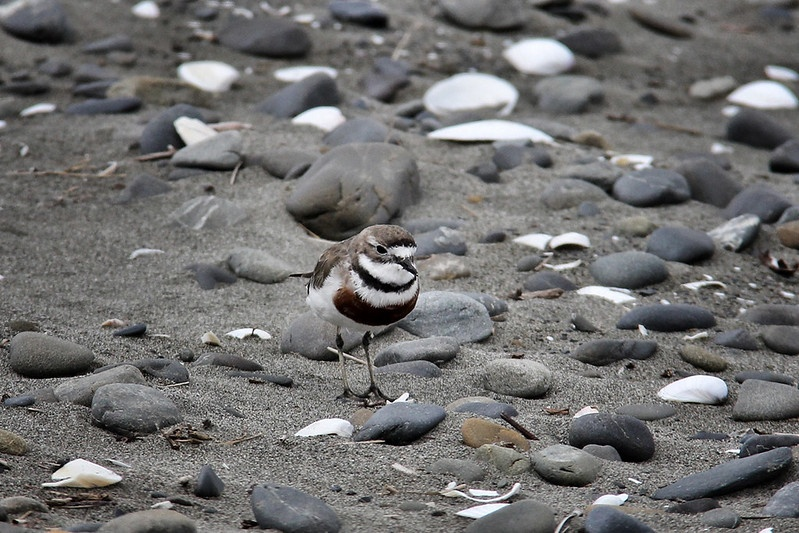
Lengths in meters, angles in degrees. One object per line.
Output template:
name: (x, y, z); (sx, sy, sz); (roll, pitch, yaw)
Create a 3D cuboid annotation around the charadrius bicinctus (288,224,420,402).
charadrius bicinctus: (-0.241, 0.105, 8.085); (0.743, 1.143, 1.758); (0, 5, -26)
